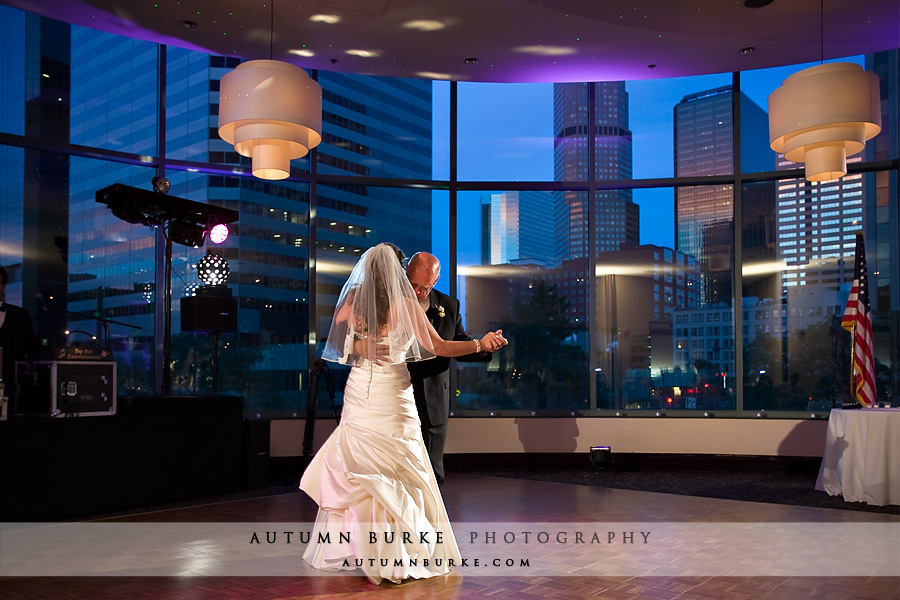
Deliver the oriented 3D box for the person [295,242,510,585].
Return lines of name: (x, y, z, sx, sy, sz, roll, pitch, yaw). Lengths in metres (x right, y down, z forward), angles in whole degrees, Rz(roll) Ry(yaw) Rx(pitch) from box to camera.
person: (-0.574, 0.912, 7.184, 1.387, 2.708, 0.796, -1, 6, -3)

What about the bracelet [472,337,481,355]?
bracelet: (0.226, 0.395, 7.260, 0.038, 0.095, 0.075, 2, 1, -17)

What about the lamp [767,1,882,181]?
lamp: (3.509, -1.668, 8.100, 0.964, 1.048, 0.458, 2, 6, 21)

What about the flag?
flag: (4.825, 0.220, 10.083, 0.356, 1.968, 0.636, 1, 6, 16)
